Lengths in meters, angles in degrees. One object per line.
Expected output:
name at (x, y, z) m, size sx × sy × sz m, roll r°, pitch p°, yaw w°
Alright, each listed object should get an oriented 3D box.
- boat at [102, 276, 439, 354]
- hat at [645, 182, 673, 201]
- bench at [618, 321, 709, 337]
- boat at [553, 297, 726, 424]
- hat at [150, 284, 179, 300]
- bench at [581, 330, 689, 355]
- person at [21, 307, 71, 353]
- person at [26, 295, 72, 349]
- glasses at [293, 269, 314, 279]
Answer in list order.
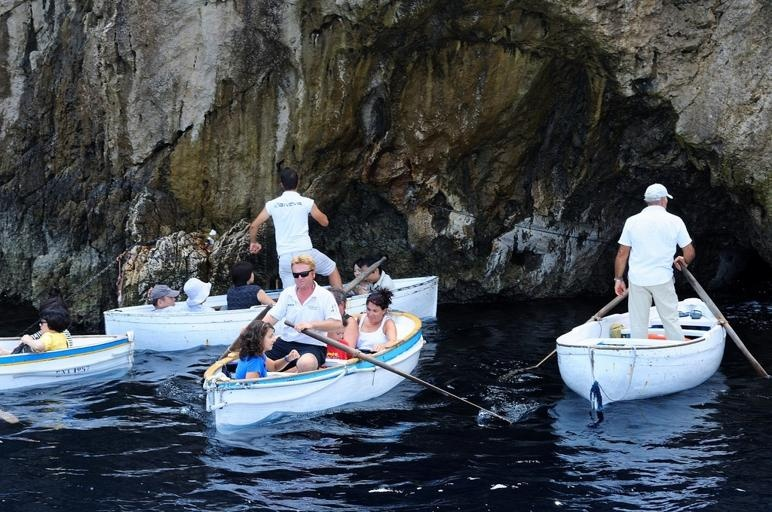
boat at (-2.124, 1.079, 20.925) m, size 5.639 × 0.830 × 1.086 m, roll -4°, pitch -3°, yaw -6°
hat at (4.565, -1.079, 19.614) m, size 0.505 × 0.254 × 0.353 m, roll -6°, pitch 12°, yaw -25°
bench at (4.803, 1.311, 20.459) m, size 0.621 × 0.216 × 1.021 m, roll -2°, pitch 1°, yaw 45°
boat at (4.471, 1.649, 20.131) m, size 1.894 × 1.742 × 3.424 m, roll 0°, pitch 0°, yaw 45°
hat at (-4.147, 0.657, 21.811) m, size 0.443 × 0.149 × 0.268 m, roll -2°, pitch 4°, yaw -27°
bench at (4.039, 1.448, 19.215) m, size 1.706 × 0.178 × 0.730 m, roll -1°, pitch 0°, yaw 10°
person at (-5.751, 1.291, 20.031) m, size 0.809 × 0.826 × 0.885 m, roll 2°, pitch 10°, yaw 3°
person at (-5.687, 1.122, 19.967) m, size 0.642 × 0.842 × 0.549 m, roll -1°, pitch 0°, yaw -16°
glasses at (-1.342, 0.281, 18.825) m, size 0.340 × 0.155 × 0.192 m, roll -1°, pitch 0°, yaw -6°
